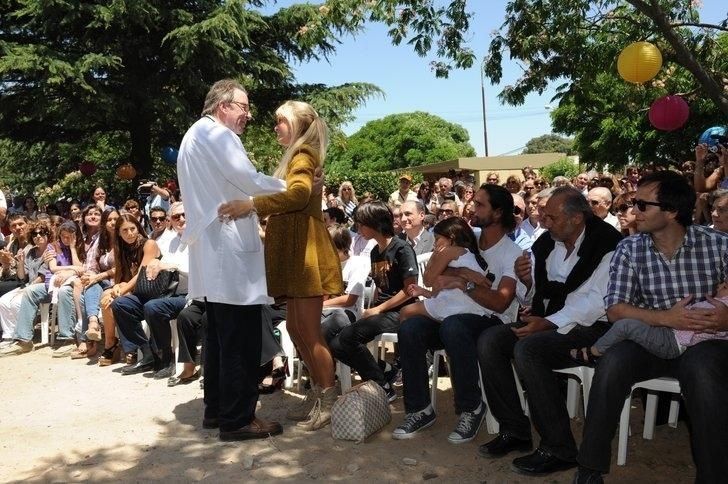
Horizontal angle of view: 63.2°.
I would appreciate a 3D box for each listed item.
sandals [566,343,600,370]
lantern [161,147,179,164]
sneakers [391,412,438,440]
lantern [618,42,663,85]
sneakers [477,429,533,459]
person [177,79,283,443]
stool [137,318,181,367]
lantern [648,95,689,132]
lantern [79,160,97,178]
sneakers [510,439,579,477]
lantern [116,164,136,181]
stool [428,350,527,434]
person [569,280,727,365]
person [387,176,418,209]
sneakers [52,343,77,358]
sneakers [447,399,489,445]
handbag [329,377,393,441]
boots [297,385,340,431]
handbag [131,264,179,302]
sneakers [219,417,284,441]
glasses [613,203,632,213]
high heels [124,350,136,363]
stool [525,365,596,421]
[{"bbox_3d":[1.854,0.971,5.005,0.115,0.111,0.319,-19,4,1],"label":"sandals"},{"bbox_3d":[-5.092,-2.278,15.489,0.324,0.429,1.047,-5,9,-20],"label":"lantern"},{"bbox_3d":[0.470,1.717,5.565,0.498,0.189,0.164,-1,0,-37],"label":"sneakers"},{"bbox_3d":[3.765,-2.426,8.291,0.619,0.641,0.557,1,2,4],"label":"lantern"},{"bbox_3d":[1.248,1.796,5.274,0.477,0.211,0.192,1,-5,-15],"label":"sneakers"},{"bbox_3d":[-1.207,0.185,5.349,0.898,3.256,0.562,5,11,33],"label":"person"},{"bbox_3d":[-2.495,1.243,7.407,0.526,0.677,0.676,-4,-14,11],"label":"stool"},{"bbox_3d":[4.586,-1.965,8.893,0.498,0.504,0.667,3,10,24],"label":"lantern"},{"bbox_3d":[-8.759,-2.342,18.735,0.397,0.382,0.535,-6,10,-29],"label":"lantern"},{"bbox_3d":[1.491,1.802,4.908,0.517,0.216,0.220,1,0,-2],"label":"sneakers"},{"bbox_3d":[-7.160,-2.112,17.697,0.447,0.390,0.622,-5,10,-25],"label":"lantern"},{"bbox_3d":[1.086,1.482,5.944,0.910,0.726,0.777,-18,-24,20],"label":"stool"},{"bbox_3d":[2.313,0.639,4.886,1.168,0.552,0.503,-3,11,21],"label":"person"},{"bbox_3d":[0.906,-1.024,13.297,0.715,0.873,0.455,3,-7,6],"label":"person"},{"bbox_3d":[-4.222,1.537,8.340,0.164,0.123,0.317,-1,-8,7],"label":"sneakers"},{"bbox_3d":[0.948,1.671,5.498,0.195,0.207,0.533,7,46,45],"label":"sneakers"},{"bbox_3d":[-0.063,1.520,5.683,0.428,0.540,0.797,-4,-2,30],"label":"handbag"},{"bbox_3d":[-0.470,1.600,5.701,0.578,0.369,0.235,-6,1,-31],"label":"boots"},{"bbox_3d":[-2.606,0.528,7.435,0.463,0.284,0.176,-2,-20,22],"label":"handbag"},{"bbox_3d":[-1.053,1.688,5.523,0.546,0.219,0.207,-6,3,-18],"label":"sneakers"},{"bbox_3d":[3.191,-0.422,7.238,0.123,0.041,0.117,11,-11,-26],"label":"glasses"},{"bbox_3d":[-3.004,1.482,7.578,0.086,0.082,0.216,5,2,-9],"label":"high heels"},{"bbox_3d":[1.946,1.388,5.685,0.735,0.569,0.729,-5,-17,26],"label":"stool"}]
